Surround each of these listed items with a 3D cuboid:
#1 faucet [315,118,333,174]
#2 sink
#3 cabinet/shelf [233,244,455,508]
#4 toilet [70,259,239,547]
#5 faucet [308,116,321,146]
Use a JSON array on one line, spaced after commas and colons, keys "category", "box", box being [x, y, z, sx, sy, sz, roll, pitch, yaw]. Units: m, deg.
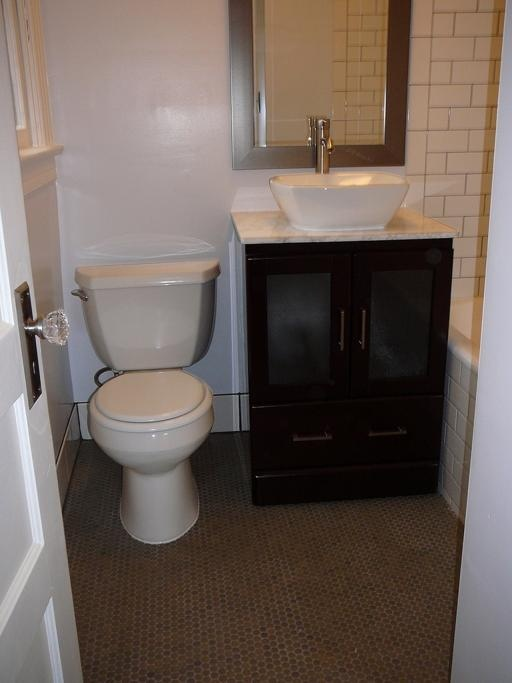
[{"category": "faucet", "box": [0.255, -0.738, 2.000, 0.067, 0.213, 0.191, 1, 14, 7]}, {"category": "sink", "box": [0.270, -0.467, 1.760, 0.434, 0.184, 0.418, 3, 16, 11]}, {"category": "cabinet/shelf", "box": [0.343, -0.050, 1.988, 0.647, 1.154, 0.586, -4, 39, 7]}, {"category": "toilet", "box": [-0.366, 0.209, 1.857, 0.374, 0.847, 0.587, -2, 22, -10]}, {"category": "faucet", "box": [0.219, -0.823, 2.058, 0.046, 0.125, 0.077, 2, 18, 3]}]
